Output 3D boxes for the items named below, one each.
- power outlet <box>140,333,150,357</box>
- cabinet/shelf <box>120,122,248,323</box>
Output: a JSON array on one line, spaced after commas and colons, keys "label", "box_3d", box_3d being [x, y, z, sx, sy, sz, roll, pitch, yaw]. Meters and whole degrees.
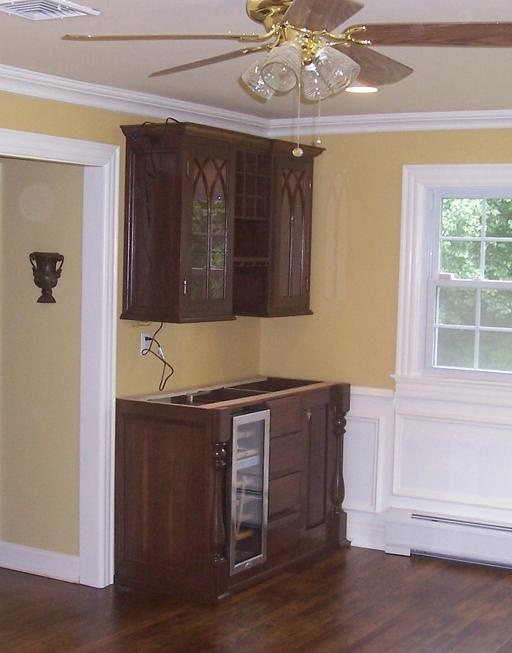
[{"label": "power outlet", "box_3d": [-0.608, 0.097, 3.585, 0.013, 0.126, 0.075, 3, 8, 33]}, {"label": "cabinet/shelf", "box_3d": [-0.406, -0.529, 3.374, 0.629, 1.011, 0.376, -2, 6, -3]}]
